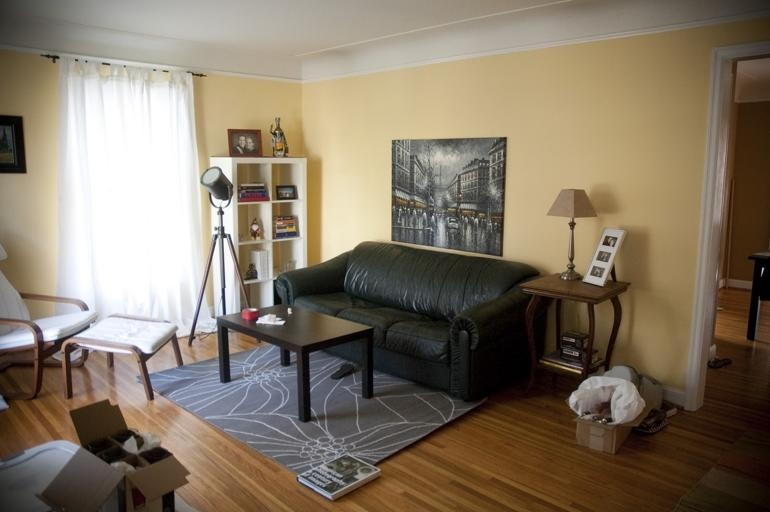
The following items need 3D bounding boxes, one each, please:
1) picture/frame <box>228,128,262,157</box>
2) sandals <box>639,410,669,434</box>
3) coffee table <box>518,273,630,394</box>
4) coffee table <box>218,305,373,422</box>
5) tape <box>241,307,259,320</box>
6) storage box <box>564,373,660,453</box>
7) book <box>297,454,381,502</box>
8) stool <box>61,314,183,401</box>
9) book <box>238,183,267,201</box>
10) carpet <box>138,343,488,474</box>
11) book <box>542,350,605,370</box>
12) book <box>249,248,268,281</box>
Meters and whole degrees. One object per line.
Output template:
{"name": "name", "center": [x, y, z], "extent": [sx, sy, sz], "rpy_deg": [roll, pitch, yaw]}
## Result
{"name": "picture/frame", "center": [-1.711, -1.368, 6.572], "extent": [0.395, 0.319, 0.026], "rpy_deg": [-5, 5, -44]}
{"name": "sandals", "center": [2.243, 1.393, 4.525], "extent": [0.172, 0.084, 0.246], "rpy_deg": [18, 22, 40]}
{"name": "coffee table", "center": [1.733, 0.753, 5.047], "extent": [0.835, 1.003, 0.765], "rpy_deg": [-9, 13, -41]}
{"name": "coffee table", "center": [-0.872, 0.949, 5.140], "extent": [1.356, 0.662, 0.863], "rpy_deg": [8, 11, 44]}
{"name": "tape", "center": [-1.254, 0.549, 5.099], "extent": [0.116, 0.062, 0.113], "rpy_deg": [2, 16, -2]}
{"name": "storage box", "center": [1.846, 1.327, 4.493], "extent": [0.501, 0.299, 0.721], "rpy_deg": [11, 11, 29]}
{"name": "book", "center": [-0.328, 1.611, 3.957], "extent": [0.282, 0.052, 0.323], "rpy_deg": [12, 19, 43]}
{"name": "stool", "center": [-2.457, 0.962, 5.151], "extent": [0.918, 0.565, 0.901], "rpy_deg": [9, 13, 17]}
{"name": "book", "center": [-1.581, -0.758, 6.510], "extent": [0.245, 0.154, 0.245], "rpy_deg": [-6, 11, -35]}
{"name": "carpet", "center": [-0.709, 1.333, 4.844], "extent": [2.744, 0.264, 1.503], "rpy_deg": [3, 12, 26]}
{"name": "book", "center": [1.715, 0.956, 5.020], "extent": [0.294, 0.067, 0.277], "rpy_deg": [5, 10, 38]}
{"name": "book", "center": [-1.575, 0.128, 6.772], "extent": [0.138, 0.329, 0.344], "rpy_deg": [-12, 17, -43]}
